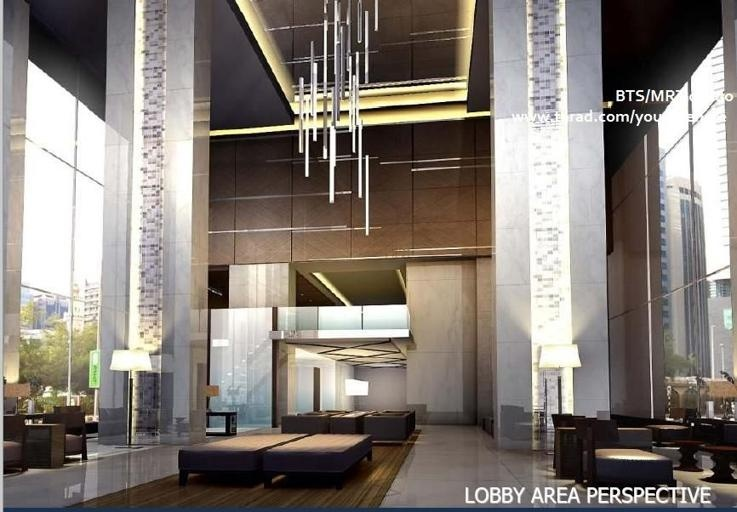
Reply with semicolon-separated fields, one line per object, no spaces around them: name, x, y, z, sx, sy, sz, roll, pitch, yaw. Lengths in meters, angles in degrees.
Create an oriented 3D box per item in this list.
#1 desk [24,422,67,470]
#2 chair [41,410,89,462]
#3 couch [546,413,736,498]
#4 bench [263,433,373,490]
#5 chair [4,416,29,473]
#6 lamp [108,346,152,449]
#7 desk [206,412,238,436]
desk;-5.957;3.315;14.730;0.440;0.847;0.851;3;13;-8
chair;-5.662;3.417;15.135;0.915;1.118;0.805;-4;-7;16
couch;4.714;3.323;13.889;3.017;1.215;1.953;-3;-12;11
bench;-0.830;3.490;13.725;1.289;0.778;1.971;-5;-13;20
chair;-6.226;3.282;14.016;0.268;0.972;0.567;-5;-12;19
lamp;-4.890;2.912;16.515;0.786;2.012;0.586;0;-12;-3
desk;-3.794;4.332;20.654;1.085;0.695;0.589;-3;-7;21
